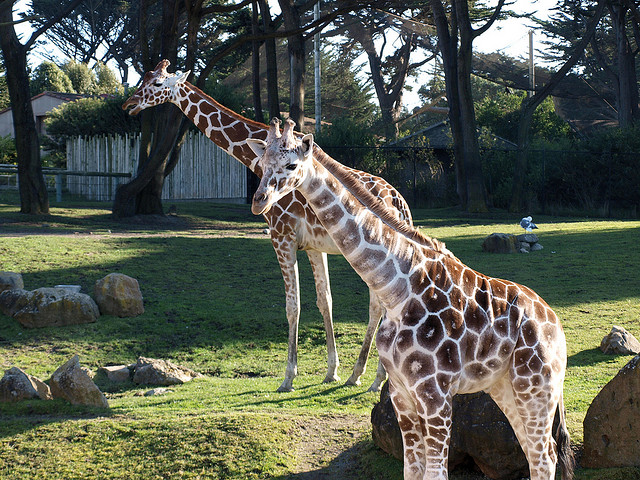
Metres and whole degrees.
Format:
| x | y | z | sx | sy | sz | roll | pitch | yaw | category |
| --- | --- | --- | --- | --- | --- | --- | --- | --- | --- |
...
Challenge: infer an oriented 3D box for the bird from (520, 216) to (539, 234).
| x | y | z | sx | sy | sz | roll | pitch | yaw | category |
| --- | --- | --- | --- | --- | --- | --- | --- | --- | --- |
| 6.602 | -0.494 | 37.761 | 0.335 | 0.711 | 0.851 | 0 | -6 | 16 | bird |
